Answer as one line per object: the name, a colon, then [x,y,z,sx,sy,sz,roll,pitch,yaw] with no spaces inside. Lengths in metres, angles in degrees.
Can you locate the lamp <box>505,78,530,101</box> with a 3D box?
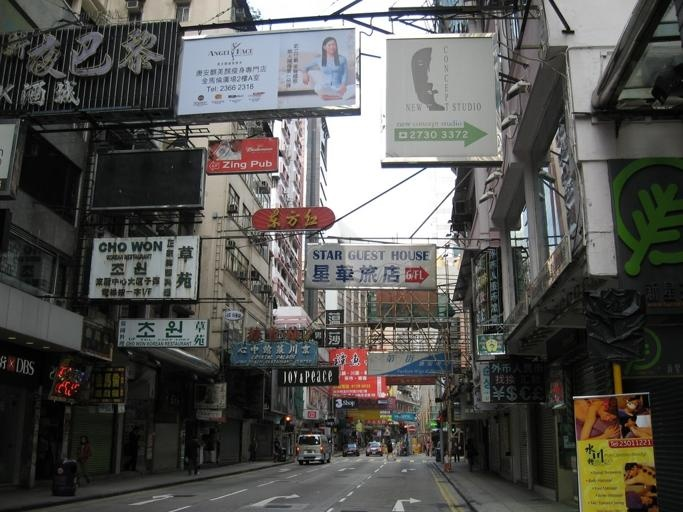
lamp: [4.433,-4.215,17.317,0.546,0.296,0.436,-31,9,-2]

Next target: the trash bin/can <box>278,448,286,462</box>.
trash bin/can: [-4.197,14.333,49.850,0.563,1.269,0.627,1,0,11]

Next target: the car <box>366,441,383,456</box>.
car: [3.599,21.009,75.674,1.089,1.048,1.952,-2,-23,2]

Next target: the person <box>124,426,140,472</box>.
person: [-9.176,8.445,30.515,0.505,1.913,0.892,3,-16,-17]

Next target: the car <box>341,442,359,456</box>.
car: [1.080,20.311,73.070,1.148,1.056,2.061,-2,-27,2]

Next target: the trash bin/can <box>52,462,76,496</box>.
trash bin/can: [-8.251,6.664,20.938,0.546,1.178,0.627,2,-5,6]

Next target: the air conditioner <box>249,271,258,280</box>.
air conditioner: [-6.014,1.346,48.472,0.451,0.707,0.947,-1,-13,4]

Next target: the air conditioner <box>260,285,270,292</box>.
air conditioner: [-5.289,2.285,48.465,0.425,0.396,0.475,0,-18,-5]
